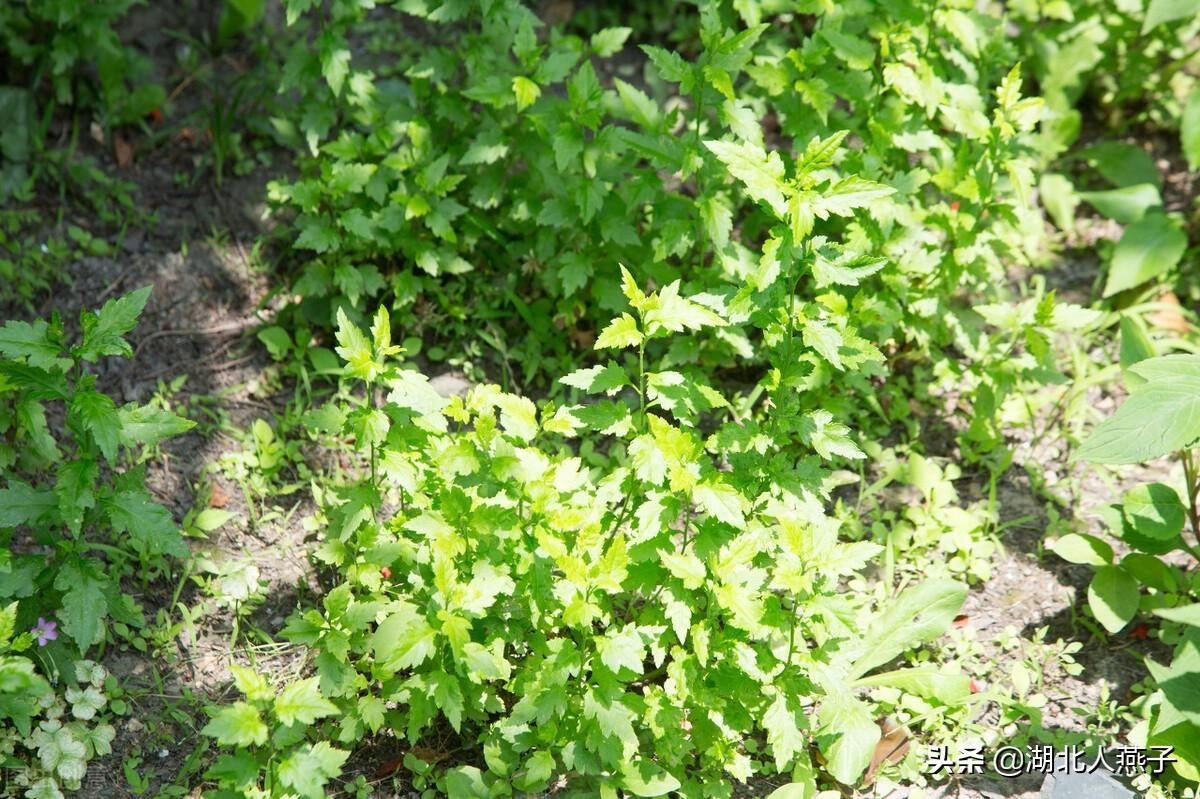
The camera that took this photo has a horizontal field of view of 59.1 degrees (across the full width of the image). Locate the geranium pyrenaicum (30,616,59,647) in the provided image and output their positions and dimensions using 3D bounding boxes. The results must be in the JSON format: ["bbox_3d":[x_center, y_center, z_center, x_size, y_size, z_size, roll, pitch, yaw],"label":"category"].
[{"bbox_3d":[-2.344,0.986,4.503,0.115,0.120,0.058,-29,18,-34],"label":"geranium pyrenaicum"}]
